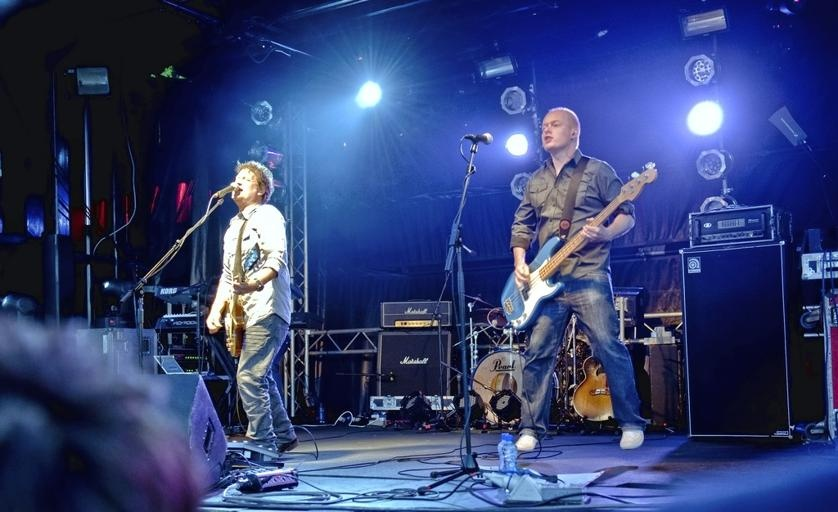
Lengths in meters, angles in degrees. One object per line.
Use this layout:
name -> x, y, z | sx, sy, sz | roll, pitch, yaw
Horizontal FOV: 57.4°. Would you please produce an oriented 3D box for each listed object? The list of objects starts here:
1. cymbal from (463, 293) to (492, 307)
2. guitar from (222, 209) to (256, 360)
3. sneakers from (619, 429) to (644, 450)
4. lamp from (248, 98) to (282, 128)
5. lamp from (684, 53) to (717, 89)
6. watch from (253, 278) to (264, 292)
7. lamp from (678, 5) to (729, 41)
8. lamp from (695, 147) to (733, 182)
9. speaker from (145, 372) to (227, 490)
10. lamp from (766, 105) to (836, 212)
cymbal -> 0.848, 0.647, 11.187 | 0.311, 0.084, 0.318 | 4, -18, 5
guitar -> -1.750, 0.277, 7.305 | 0.180, 1.343, 0.447 | 3, -8, -18
sneakers -> 1.917, 1.653, 6.912 | 0.179, 0.165, 0.139 | -3, -8, 19
lamp -> -2.325, -2.131, 11.349 | 0.415, 0.357, 0.279 | -2, -8, 12
lamp -> 3.737, -2.485, 10.182 | 0.383, 0.397, 0.249 | -3, -8, 21
watch -> -1.487, 0.269, 7.066 | 0.074, 0.096, 0.090 | 6, -52, -40
lamp -> 3.669, -3.002, 9.872 | 0.461, 0.309, 0.113 | -8, 11, 23
lamp -> 3.970, -1.233, 10.263 | 0.397, 0.412, 0.301 | -2, 4, 44
speaker -> -1.760, 1.410, 6.140 | 0.357, 0.927, 0.695 | -4, -9, 31
lamp -> 5.089, -1.236, 10.209 | 0.794, 1.478, 0.311 | 3, -8, -20
